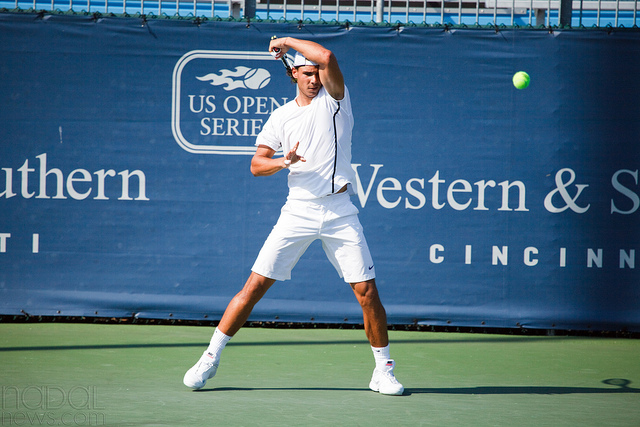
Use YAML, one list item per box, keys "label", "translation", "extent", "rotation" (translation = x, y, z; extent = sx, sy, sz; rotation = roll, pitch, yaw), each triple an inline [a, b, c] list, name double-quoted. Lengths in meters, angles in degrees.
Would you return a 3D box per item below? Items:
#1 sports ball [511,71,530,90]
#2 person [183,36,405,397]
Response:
- label: "sports ball"
  translation: [1.942, -1.290, 9.219]
  extent: [0.178, 0.177, 0.121]
  rotation: [0, 5, 11]
- label: "person"
  translation: [-0.123, 0.042, 7.888]
  extent: [1.561, 2.935, 0.357]
  rotation: [-1, 5, 2]
